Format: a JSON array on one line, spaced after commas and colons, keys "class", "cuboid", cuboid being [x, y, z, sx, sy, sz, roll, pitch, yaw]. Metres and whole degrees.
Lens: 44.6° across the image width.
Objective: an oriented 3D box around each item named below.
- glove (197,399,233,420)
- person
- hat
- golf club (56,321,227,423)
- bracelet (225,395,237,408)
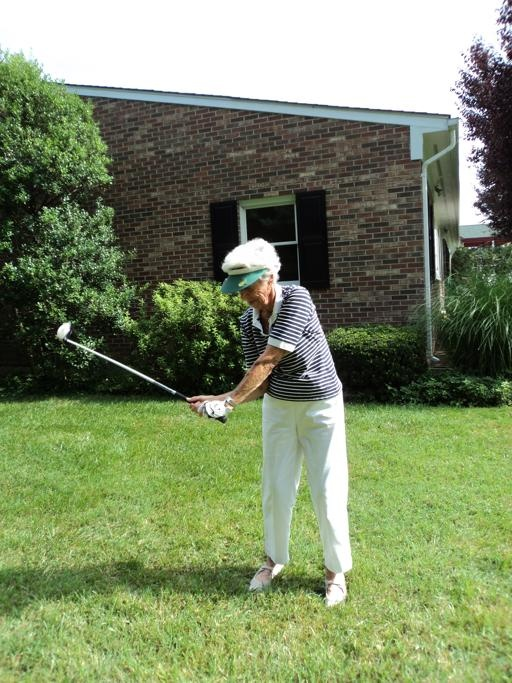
[{"class": "glove", "cuboid": [-0.209, 0.322, 2.931, 0.092, 0.050, 0.122, 8, -4, -43]}, {"class": "person", "cuboid": [0.123, 0.396, 3.048, 0.562, 1.775, 0.510, -7, 10, 19]}, {"class": "hat", "cuboid": [-0.022, -0.347, 2.841, 0.207, 0.160, 0.307, -15, 12, 37]}, {"class": "golf club", "cuboid": [-1.424, 0.394, 7.717, 1.894, 0.324, 0.212, 32, -8, -7]}, {"class": "bracelet", "cuboid": [-0.118, 0.287, 2.893, 0.042, 0.057, 0.021, 20, 54, 30]}]
